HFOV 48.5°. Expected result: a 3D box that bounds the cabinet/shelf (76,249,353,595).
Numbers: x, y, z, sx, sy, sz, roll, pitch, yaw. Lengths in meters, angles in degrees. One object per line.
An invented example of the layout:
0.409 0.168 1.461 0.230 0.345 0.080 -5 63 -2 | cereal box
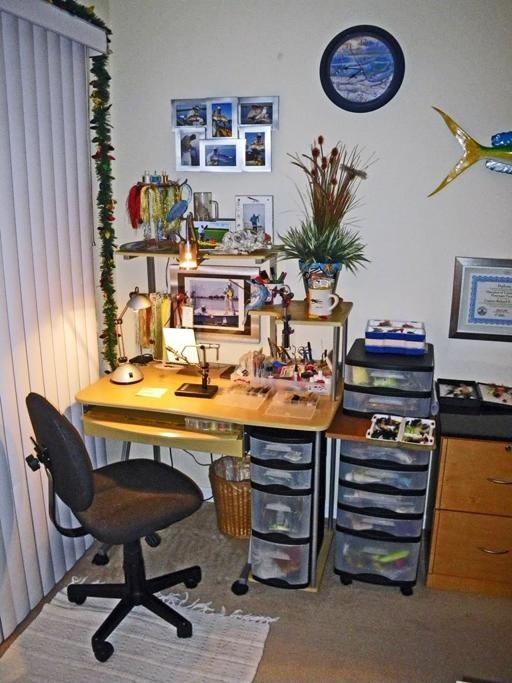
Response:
-0.194 0.339 2.695 1.185 1.410 0.697 5 16 18 | cabinet/shelf

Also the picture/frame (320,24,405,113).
0.468 -1.194 2.444 0.379 0.364 0.028 -8 22 22 | picture/frame

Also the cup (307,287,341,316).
0.299 -0.176 2.444 0.174 0.129 0.129 -6 15 -21 | cup

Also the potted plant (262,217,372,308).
0.272 -0.366 2.600 0.411 0.340 0.361 1 6 -14 | potted plant

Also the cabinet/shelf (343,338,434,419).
0.557 0.130 2.409 0.305 0.190 0.306 2 16 14 | cabinet/shelf

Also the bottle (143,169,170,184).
-0.458 -0.777 2.622 0.107 0.058 0.104 2 20 -1 | bottle

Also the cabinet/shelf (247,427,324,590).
0.103 0.700 2.374 0.319 0.761 0.132 3 15 12 | cabinet/shelf

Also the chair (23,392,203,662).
-0.516 0.658 2.265 0.668 0.963 0.609 -9 15 -34 | chair

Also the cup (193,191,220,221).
-0.235 -0.660 2.762 0.136 0.136 0.106 -5 15 -17 | cup

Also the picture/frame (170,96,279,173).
-0.148 -0.986 2.712 0.523 0.345 0.027 4 15 18 | picture/frame
